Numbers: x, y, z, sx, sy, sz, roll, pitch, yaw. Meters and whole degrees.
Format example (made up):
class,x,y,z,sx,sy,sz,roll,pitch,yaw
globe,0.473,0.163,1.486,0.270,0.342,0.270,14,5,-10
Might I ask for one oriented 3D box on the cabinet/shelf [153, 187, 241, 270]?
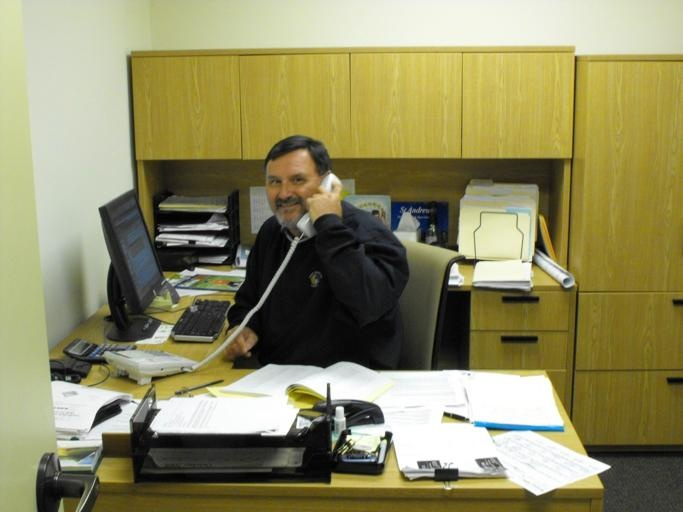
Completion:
class,x,y,z,sx,sy,sz,roll,pitch,yaw
cabinet/shelf,-0.807,-0.143,3.231,0.562,0.531,0.407,-1,4,-2

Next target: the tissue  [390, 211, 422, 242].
class,x,y,z,sx,sy,sz,roll,pitch,yaw
tissue ,0.377,-0.165,3.244,0.182,0.242,0.229,2,3,7

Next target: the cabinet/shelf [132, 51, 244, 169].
class,x,y,z,sx,sy,sz,roll,pitch,yaw
cabinet/shelf,-0.805,-0.799,2.931,0.565,0.514,0.266,0,6,-1

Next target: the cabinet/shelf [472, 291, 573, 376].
class,x,y,z,sx,sy,sz,roll,pitch,yaw
cabinet/shelf,0.880,0.328,2.984,0.600,0.543,0.384,0,4,3

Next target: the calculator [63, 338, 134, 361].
class,x,y,z,sx,sy,sz,roll,pitch,yaw
calculator,-0.881,0.335,1.970,0.174,0.033,0.104,2,17,0

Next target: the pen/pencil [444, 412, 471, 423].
class,x,y,z,sx,sy,sz,roll,pitch,yaw
pen/pencil,0.319,0.444,1.534,0.043,0.010,0.010,13,48,24
